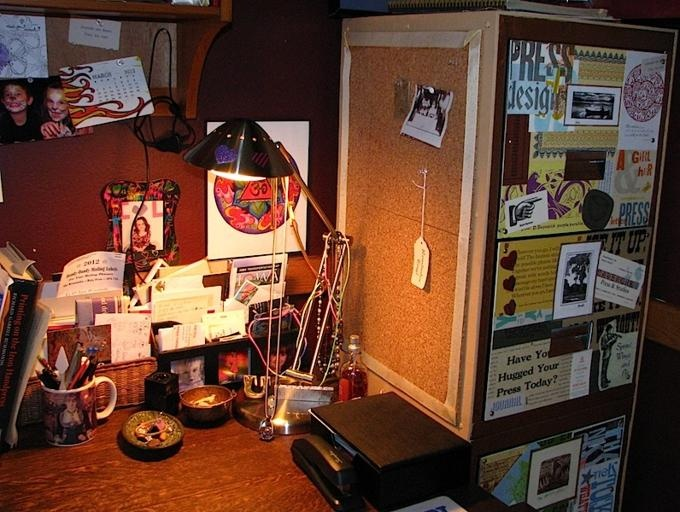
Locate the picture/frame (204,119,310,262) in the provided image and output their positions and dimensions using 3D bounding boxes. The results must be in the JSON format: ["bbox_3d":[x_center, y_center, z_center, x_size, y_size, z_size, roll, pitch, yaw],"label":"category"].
[{"bbox_3d":[-0.282,-0.221,1.732,0.439,0.552,0.039,-6,16,-25],"label":"picture/frame"}]

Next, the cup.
[{"bbox_3d":[-0.750,0.440,1.564,0.210,0.172,0.132,-4,5,-36],"label":"cup"}]

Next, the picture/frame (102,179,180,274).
[{"bbox_3d":[-0.651,-0.104,1.717,0.277,0.370,0.037,-4,15,-28],"label":"picture/frame"}]

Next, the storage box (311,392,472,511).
[{"bbox_3d":[0.168,0.507,1.425,0.228,0.102,0.312,-4,18,-27],"label":"storage box"}]

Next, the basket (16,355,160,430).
[{"bbox_3d":[-0.767,0.386,1.641,0.313,0.198,0.184,-1,2,-24],"label":"basket"}]

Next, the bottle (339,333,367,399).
[{"bbox_3d":[0.044,0.395,1.797,0.102,0.273,0.103,2,15,0],"label":"bottle"}]
